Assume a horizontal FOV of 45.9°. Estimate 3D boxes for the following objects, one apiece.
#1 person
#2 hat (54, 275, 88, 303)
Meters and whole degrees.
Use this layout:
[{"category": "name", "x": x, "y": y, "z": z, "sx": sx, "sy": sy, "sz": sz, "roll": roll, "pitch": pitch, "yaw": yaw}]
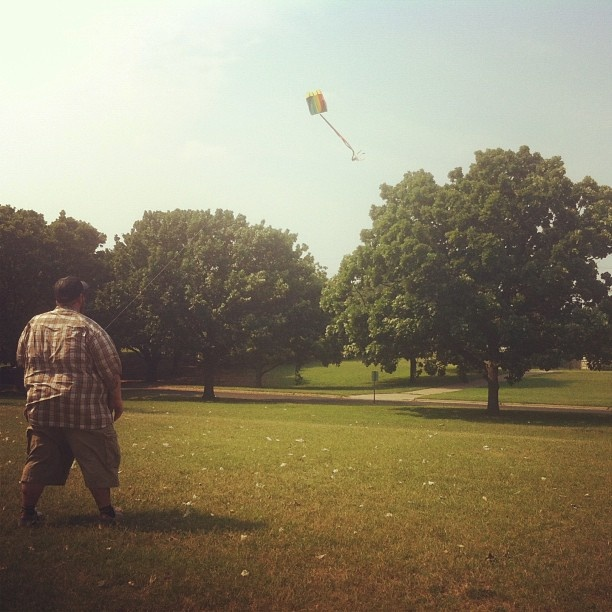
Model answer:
[{"category": "person", "x": -2.738, "y": 1.074, "z": 8.150, "sx": 1.140, "sy": 2.778, "sz": 0.591, "roll": 2, "pitch": 1, "yaw": -13}, {"category": "hat", "x": -2.827, "y": -0.215, "z": 8.411, "sx": 0.263, "sy": 0.384, "sz": 0.356, "roll": 1, "pitch": 16, "yaw": -8}]
